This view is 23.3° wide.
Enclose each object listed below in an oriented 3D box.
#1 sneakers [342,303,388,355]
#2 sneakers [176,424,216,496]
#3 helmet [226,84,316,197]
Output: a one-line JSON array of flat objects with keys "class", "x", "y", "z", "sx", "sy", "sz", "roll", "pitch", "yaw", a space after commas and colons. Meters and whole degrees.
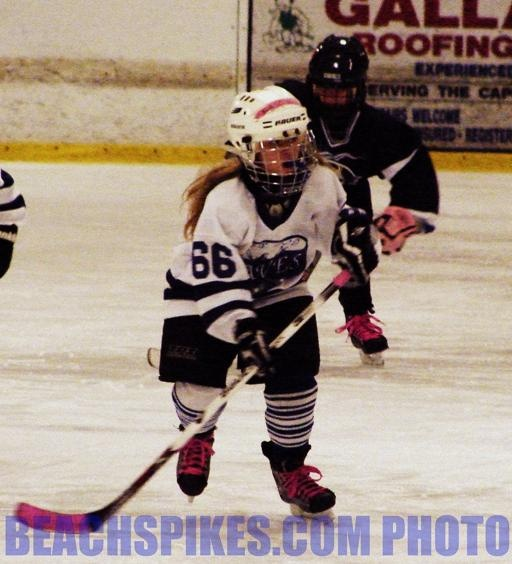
[{"class": "sneakers", "x": 0.399, "y": 0.183, "z": 4.564, "sx": 0.132, "sy": 0.079, "sz": 0.200, "roll": -23, "pitch": 13, "yaw": 1}, {"class": "sneakers", "x": -0.180, "y": 0.558, "z": 3.838, "sx": 0.093, "sy": 0.092, "sz": 0.226, "roll": 5, "pitch": 35, "yaw": -2}, {"class": "helmet", "x": 0.042, "y": -0.434, "z": 3.803, "sx": 0.197, "sy": 0.304, "sz": 0.282, "roll": -19, "pitch": 25, "yaw": -41}]
